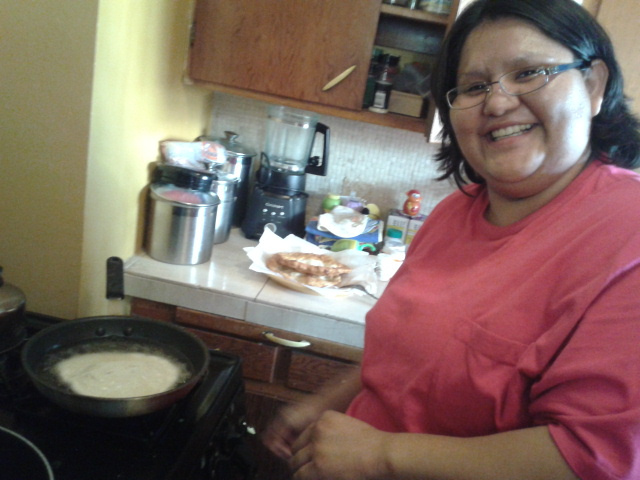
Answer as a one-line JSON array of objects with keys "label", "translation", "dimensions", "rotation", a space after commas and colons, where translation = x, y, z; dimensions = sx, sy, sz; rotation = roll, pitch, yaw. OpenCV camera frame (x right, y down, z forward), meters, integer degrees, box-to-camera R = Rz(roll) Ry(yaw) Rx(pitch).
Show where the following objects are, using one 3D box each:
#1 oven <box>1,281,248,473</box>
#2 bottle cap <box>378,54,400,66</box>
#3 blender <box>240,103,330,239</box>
[{"label": "oven", "translation": [-0.394, 0.280, 1.070], "dimensions": [0.647, 0.192, 0.316], "rotation": [7, 11, -3]}, {"label": "bottle cap", "translation": [0.270, -0.707, 2.129], "dimensions": [0.057, 0.031, 0.080], "rotation": [4, 13, 12]}, {"label": "blender", "translation": [-0.133, -0.268, 2.234], "dimensions": [0.300, 0.564, 0.422], "rotation": [10, 13, -4]}]
